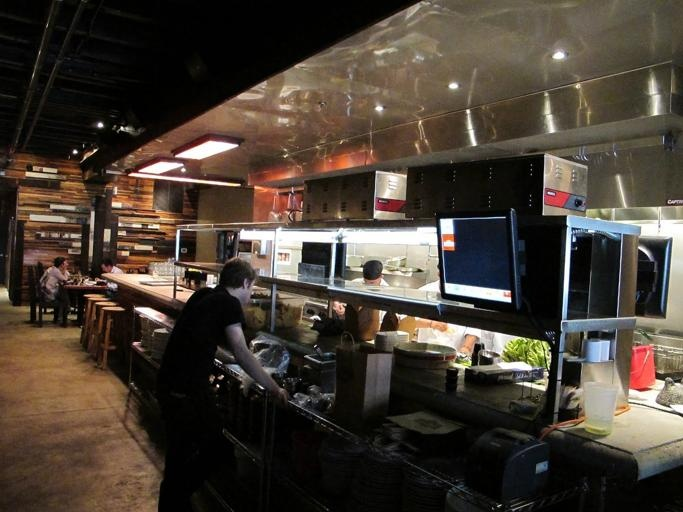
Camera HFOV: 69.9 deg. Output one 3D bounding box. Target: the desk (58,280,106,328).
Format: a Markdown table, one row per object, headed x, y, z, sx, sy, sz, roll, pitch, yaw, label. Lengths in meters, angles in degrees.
| x | y | z | sx | sy | sz | roll | pitch | yaw | label |
| --- | --- | --- | --- | --- | --- | --- | --- | --- | --- |
| -4.998 | 1.017 | 9.748 | 1.109 | 0.980 | 1.091 | 4 | -1 | -31 | desk |

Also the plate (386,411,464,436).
| x | y | z | sx | sy | sz | roll | pitch | yaw | label |
| --- | --- | --- | --- | --- | --- | --- | --- | --- | --- |
| 0.420 | 0.836 | 2.458 | 0.261 | 0.020 | 0.284 | -2 | 7 | -42 | plate |

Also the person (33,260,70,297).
| x | y | z | sx | sy | sz | roll | pitch | yaw | label |
| --- | --- | --- | --- | --- | --- | --- | --- | --- | --- |
| -5.621 | 0.443 | 9.500 | 0.517 | 0.757 | 0.752 | 0 | 6 | -24 | person |

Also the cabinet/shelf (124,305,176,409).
| x | y | z | sx | sy | sz | roll | pitch | yaw | label |
| --- | --- | --- | --- | --- | --- | --- | --- | --- | --- |
| -1.912 | 1.007 | 4.853 | 0.371 | 1.027 | 1.150 | 2 | 4 | -31 | cabinet/shelf |

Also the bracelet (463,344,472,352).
| x | y | z | sx | sy | sz | roll | pitch | yaw | label |
| --- | --- | --- | --- | --- | --- | --- | --- | --- | --- |
| 1.054 | 0.790 | 4.107 | 0.078 | 0.041 | 0.164 | 4 | 5 | 12 | bracelet |

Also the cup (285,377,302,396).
| x | y | z | sx | sy | sz | roll | pitch | yaw | label |
| --- | --- | --- | --- | --- | --- | --- | --- | --- | --- |
| -0.319 | 0.850 | 3.168 | 0.076 | 0.070 | 0.101 | -2 | -7 | 39 | cup |

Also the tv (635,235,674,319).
| x | y | z | sx | sy | sz | roll | pitch | yaw | label |
| --- | --- | --- | --- | --- | --- | --- | --- | --- | --- |
| 1.861 | 0.136 | 2.922 | 0.173 | 0.498 | 0.239 | 6 | 6 | 32 | tv |

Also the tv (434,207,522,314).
| x | y | z | sx | sy | sz | roll | pitch | yaw | label |
| --- | --- | --- | --- | --- | --- | --- | --- | --- | --- |
| 0.663 | 0.028 | 2.348 | 0.073 | 0.498 | 0.541 | -10 | 9 | -42 | tv |

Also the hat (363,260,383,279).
| x | y | z | sx | sy | sz | roll | pitch | yaw | label |
| --- | --- | --- | --- | --- | --- | --- | --- | --- | --- |
| 0.263 | 0.121 | 4.142 | 0.128 | 0.128 | 0.169 | 2 | -3 | -4 | hat |
